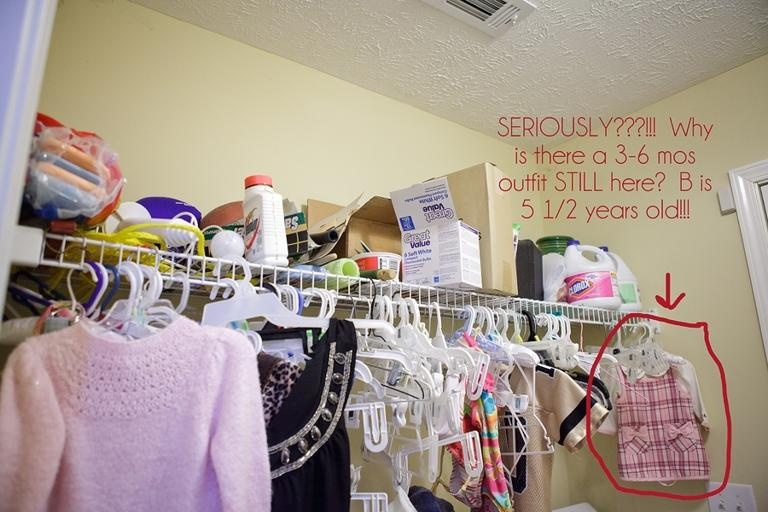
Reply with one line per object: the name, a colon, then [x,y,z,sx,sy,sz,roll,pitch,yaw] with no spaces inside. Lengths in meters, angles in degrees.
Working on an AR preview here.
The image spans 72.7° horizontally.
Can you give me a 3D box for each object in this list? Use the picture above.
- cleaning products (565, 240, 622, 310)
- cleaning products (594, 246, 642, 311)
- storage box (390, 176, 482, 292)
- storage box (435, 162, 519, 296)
cleaning products: [0.891,0.088,2.239,0.237,0.348,0.180,-13,-26,38]
cleaning products: [1.030,0.102,2.371,0.210,0.312,0.165,24,-30,-33]
storage box: [0.181,-0.049,1.843,0.277,0.390,0.381,-8,-15,35]
storage box: [0.418,-0.104,2.075,0.192,0.547,0.394,-10,7,-16]
